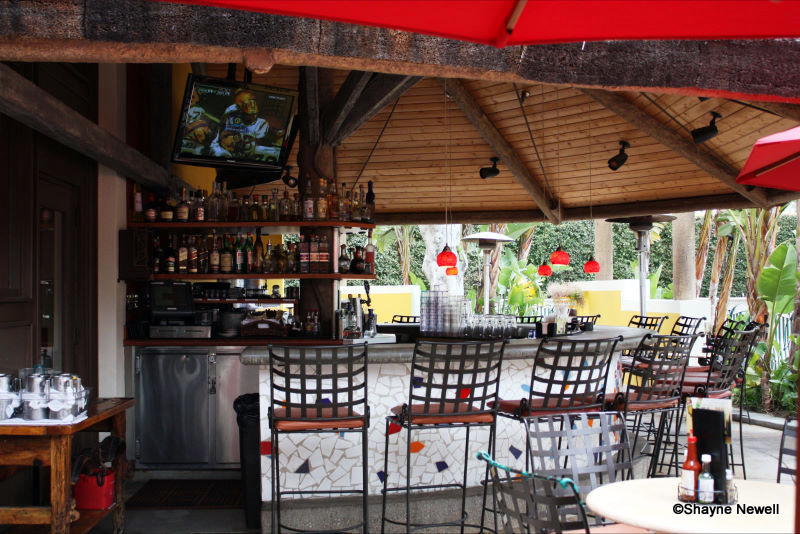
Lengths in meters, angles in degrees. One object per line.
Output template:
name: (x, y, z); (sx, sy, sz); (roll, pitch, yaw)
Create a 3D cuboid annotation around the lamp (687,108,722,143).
lamp: (3.449, -1.622, 7.726); (0.379, 0.188, 0.205); (-20, 22, -2)

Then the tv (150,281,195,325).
tv: (-2.262, 0.354, 6.809); (0.461, 0.398, 0.425); (0, -6, -4)

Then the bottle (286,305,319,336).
bottle: (-0.975, 0.552, 6.938); (0.349, 0.288, 0.124); (0, -3, 6)

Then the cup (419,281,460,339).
cup: (0.412, 0.395, 6.502); (0.579, 0.472, 0.387); (1, -6, 5)

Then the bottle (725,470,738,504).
bottle: (1.694, 1.107, 3.483); (0.047, 0.174, 0.165); (-3, -5, 29)

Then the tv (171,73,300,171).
tv: (-1.668, -1.470, 6.939); (1.639, 1.037, 0.163); (5, 9, -22)

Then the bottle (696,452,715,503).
bottle: (1.535, 1.058, 3.430); (0.071, 0.239, 0.078); (-5, -6, 40)

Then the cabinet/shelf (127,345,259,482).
cabinet/shelf: (-1.916, 1.386, 6.449); (1.592, 1.313, 0.808); (0, -1, 1)

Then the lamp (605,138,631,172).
lamp: (2.938, -1.451, 9.098); (0.268, 0.422, 0.780); (-2, -5, 18)

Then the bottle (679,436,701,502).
bottle: (1.479, 1.021, 3.495); (0.115, 0.334, 0.136); (-3, -5, 21)
